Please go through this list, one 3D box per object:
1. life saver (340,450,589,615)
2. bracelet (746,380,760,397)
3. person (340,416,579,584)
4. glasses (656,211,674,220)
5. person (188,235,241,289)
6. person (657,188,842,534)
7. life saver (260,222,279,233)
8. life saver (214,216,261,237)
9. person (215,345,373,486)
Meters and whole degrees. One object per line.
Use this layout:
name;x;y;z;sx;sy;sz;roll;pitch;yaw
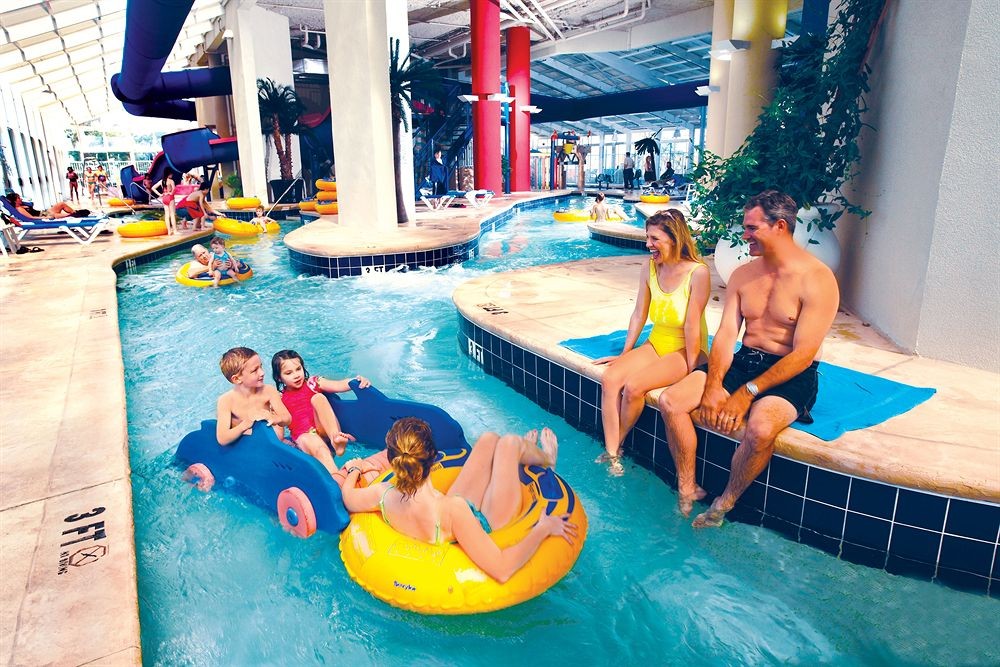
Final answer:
life saver;-0.202;1.191;3.721;1.500;0.405;1.534;0;12;29
bracelet;1.455;0.310;3.461;0.078;0.055;0.078;38;8;-2
person;-0.154;0.807;3.260;0.885;0.618;1.043;16;34;27
glasses;1.035;-0.763;3.810;0.082;0.022;0.074;-11;25;-12
person;-4.181;-1.018;8.803;0.719;0.477;0.717;-4;29;-11
person;1.456;0.151;3.539;0.777;1.917;0.642;-13;18;-31
life saver;-5.240;-2.438;13.795;0.269;0.095;0.267;-20;38;-36
life saver;-5.673;-2.312;13.031;0.664;0.181;0.666;7;14;-7
person;-1.424;0.453;3.946;0.686;0.559;0.914;-13;23;-42
